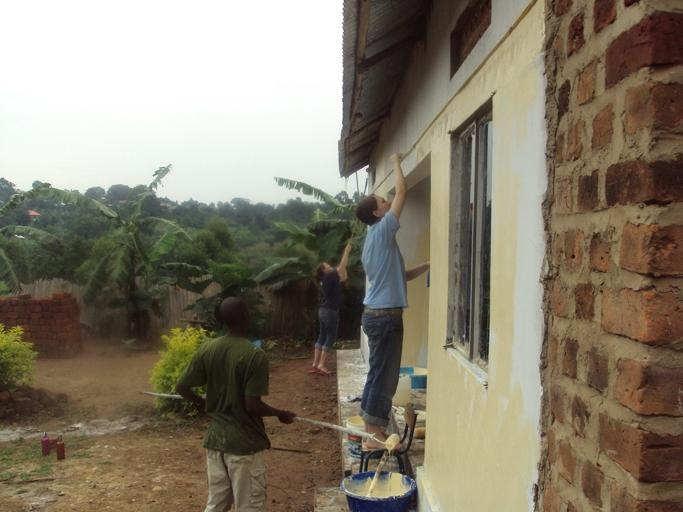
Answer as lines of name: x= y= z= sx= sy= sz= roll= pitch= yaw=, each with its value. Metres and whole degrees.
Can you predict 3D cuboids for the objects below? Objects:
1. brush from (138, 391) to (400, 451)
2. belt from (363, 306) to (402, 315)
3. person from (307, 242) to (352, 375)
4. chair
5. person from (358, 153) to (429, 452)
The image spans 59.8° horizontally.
brush: x=-0.181 y=1.296 z=4.451 sx=0.246 sy=0.215 sz=1.725 roll=-21 pitch=-30 yaw=24
belt: x=0.324 y=0.441 z=4.821 sx=0.333 sy=0.043 sz=0.256 roll=-2 pitch=0 yaw=17
person: x=-0.187 y=0.920 z=10.496 sx=0.587 sy=2.253 sz=0.727 roll=0 pitch=1 yaw=2
chair: x=0.356 y=1.414 z=4.500 sx=0.486 sy=0.617 sz=0.531 roll=0 pitch=0 yaw=-1
person: x=0.468 y=0.419 z=4.882 sx=0.630 sy=2.362 sz=0.727 roll=0 pitch=0 yaw=-10
